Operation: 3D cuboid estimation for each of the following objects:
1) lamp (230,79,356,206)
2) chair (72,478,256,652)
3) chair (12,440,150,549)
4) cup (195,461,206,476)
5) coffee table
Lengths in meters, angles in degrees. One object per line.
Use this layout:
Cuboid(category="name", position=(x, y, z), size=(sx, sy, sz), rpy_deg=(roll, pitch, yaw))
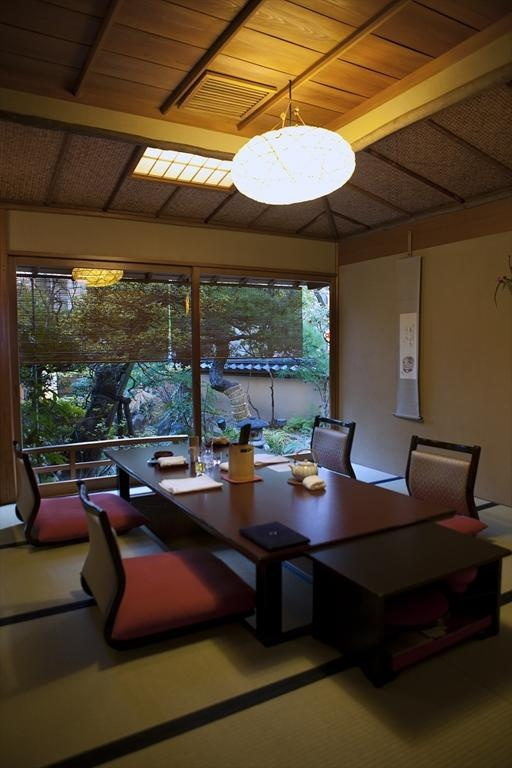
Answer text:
Cuboid(category="lamp", position=(0.179, -1.051, 2.424), size=(0.415, 0.439, 0.434), rpy_deg=(-16, -32, 29))
Cuboid(category="chair", position=(-0.366, 0.605, 2.244), size=(0.656, 0.520, 0.675), rpy_deg=(-5, 10, -25))
Cuboid(category="chair", position=(-1.113, 0.746, 3.395), size=(0.727, 0.558, 0.720), rpy_deg=(-1, 9, -29))
Cuboid(category="cup", position=(-0.312, 0.479, 3.002), size=(0.054, 0.061, 0.054), rpy_deg=(-2, -6, 0))
Cuboid(category="coffee table", position=(0.546, 0.765, 1.927), size=(0.696, 0.381, 0.445), rpy_deg=(-3, 1, -34))
